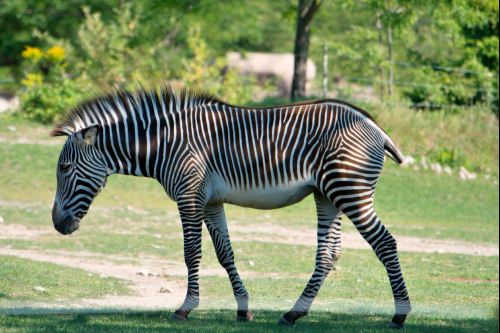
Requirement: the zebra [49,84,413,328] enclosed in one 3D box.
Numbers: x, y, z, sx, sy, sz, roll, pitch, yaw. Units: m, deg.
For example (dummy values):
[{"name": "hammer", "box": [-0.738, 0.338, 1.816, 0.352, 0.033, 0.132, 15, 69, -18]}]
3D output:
[{"name": "zebra", "box": [-0.467, 0.794, 19.027, 7.169, 3.604, 1.430, 9, 4, 10]}]
